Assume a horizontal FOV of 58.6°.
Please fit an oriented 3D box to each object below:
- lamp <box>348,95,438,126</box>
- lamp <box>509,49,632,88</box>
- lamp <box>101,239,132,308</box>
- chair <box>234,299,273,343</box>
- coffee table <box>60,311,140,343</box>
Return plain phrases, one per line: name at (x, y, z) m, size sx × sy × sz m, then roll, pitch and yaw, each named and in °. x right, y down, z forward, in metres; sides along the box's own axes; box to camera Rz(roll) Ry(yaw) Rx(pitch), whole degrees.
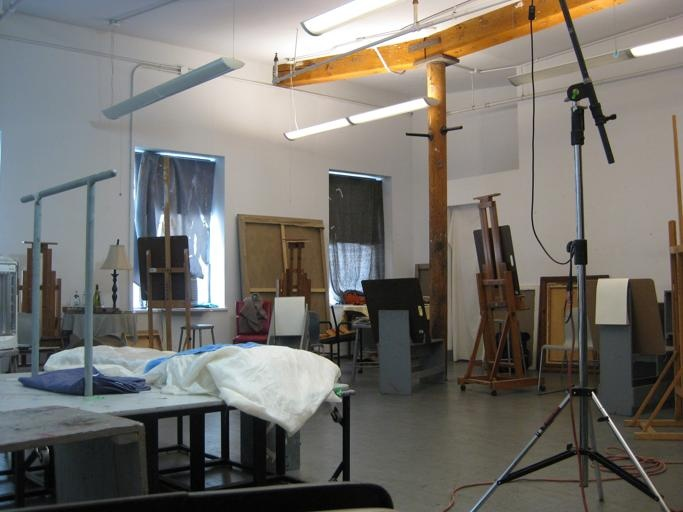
lamp at (0.781, -2.379, 9.870) m, size 1.187 × 0.106 × 0.241 m, roll -4°, pitch 23°, yaw 40°
lamp at (3.182, -2.557, 8.288) m, size 1.987 × 0.089 × 0.337 m, roll -8°, pitch -4°, yaw 42°
lamp at (-3.121, 0.221, 8.418) m, size 0.379 × 0.970 × 0.688 m, roll 0°, pitch -4°, yaw -22°
chair at (-1.247, 0.923, 8.715) m, size 0.534 × 0.921 × 0.626 m, roll 1°, pitch -5°, yaw 1°
coffee table at (-3.065, 0.866, 7.706) m, size 0.875 × 0.465 × 0.462 m, roll 0°, pitch -4°, yaw -27°
